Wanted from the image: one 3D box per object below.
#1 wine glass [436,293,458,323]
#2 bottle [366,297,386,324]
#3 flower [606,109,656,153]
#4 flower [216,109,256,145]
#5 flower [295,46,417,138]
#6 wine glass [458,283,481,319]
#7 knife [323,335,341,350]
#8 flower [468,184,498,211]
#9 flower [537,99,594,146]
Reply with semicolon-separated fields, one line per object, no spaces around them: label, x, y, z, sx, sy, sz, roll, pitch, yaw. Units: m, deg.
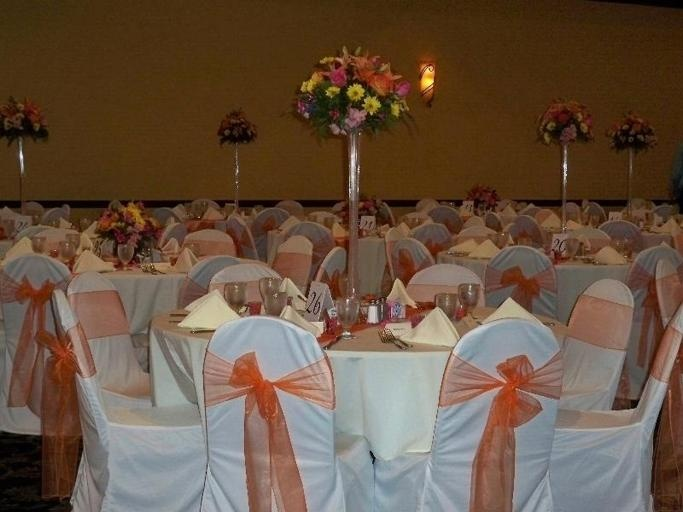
wine glass;0.496;0.242;2.945;0.097;0.149;0.114;-1;1;5
bottle;0.171;0.280;3.130;0.101;0.134;0.074;1;-3;-4
flower;3.363;-1.445;7.223;0.352;0.435;0.365;2;2;32
flower;-1.553;-1.922;9.232;0.528;0.524;0.380;-2;1;-8
flower;0.058;-0.812;3.084;0.553;0.437;0.278;-2;2;3
wine glass;0.646;0.219;3.190;0.136;0.267;0.143;0;7;17
knife;-0.040;0.378;2.712;0.057;0.021;0.043;-44;6;4
flower;2.012;-0.796;8.670;0.353;0.394;0.399;3;8;-14
flower;2.011;-1.092;5.552;0.417;0.459;0.446;6;-2;-28
